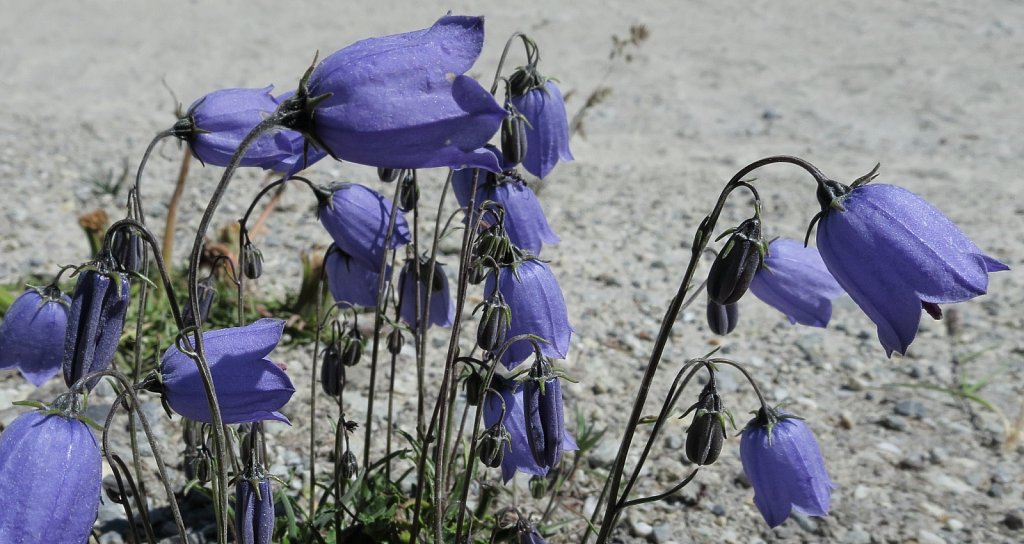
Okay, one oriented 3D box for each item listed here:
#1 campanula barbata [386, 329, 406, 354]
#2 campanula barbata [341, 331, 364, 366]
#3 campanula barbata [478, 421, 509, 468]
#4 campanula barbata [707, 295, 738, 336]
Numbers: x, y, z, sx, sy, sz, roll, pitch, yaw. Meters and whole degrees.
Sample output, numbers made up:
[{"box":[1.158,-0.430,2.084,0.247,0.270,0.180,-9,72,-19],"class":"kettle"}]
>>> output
[{"box":[-1.091,0.623,11.943,0.124,0.301,0.122,26,49,22],"class":"campanula barbata"},{"box":[-1.443,0.676,11.660,0.134,0.357,0.222,11,33,23],"class":"campanula barbata"},{"box":[-0.166,1.511,11.343,0.275,0.394,0.231,-3,30,0],"class":"campanula barbata"},{"box":[1.825,0.367,11.383,0.205,0.365,0.114,-3,-1,-10],"class":"campanula barbata"}]
